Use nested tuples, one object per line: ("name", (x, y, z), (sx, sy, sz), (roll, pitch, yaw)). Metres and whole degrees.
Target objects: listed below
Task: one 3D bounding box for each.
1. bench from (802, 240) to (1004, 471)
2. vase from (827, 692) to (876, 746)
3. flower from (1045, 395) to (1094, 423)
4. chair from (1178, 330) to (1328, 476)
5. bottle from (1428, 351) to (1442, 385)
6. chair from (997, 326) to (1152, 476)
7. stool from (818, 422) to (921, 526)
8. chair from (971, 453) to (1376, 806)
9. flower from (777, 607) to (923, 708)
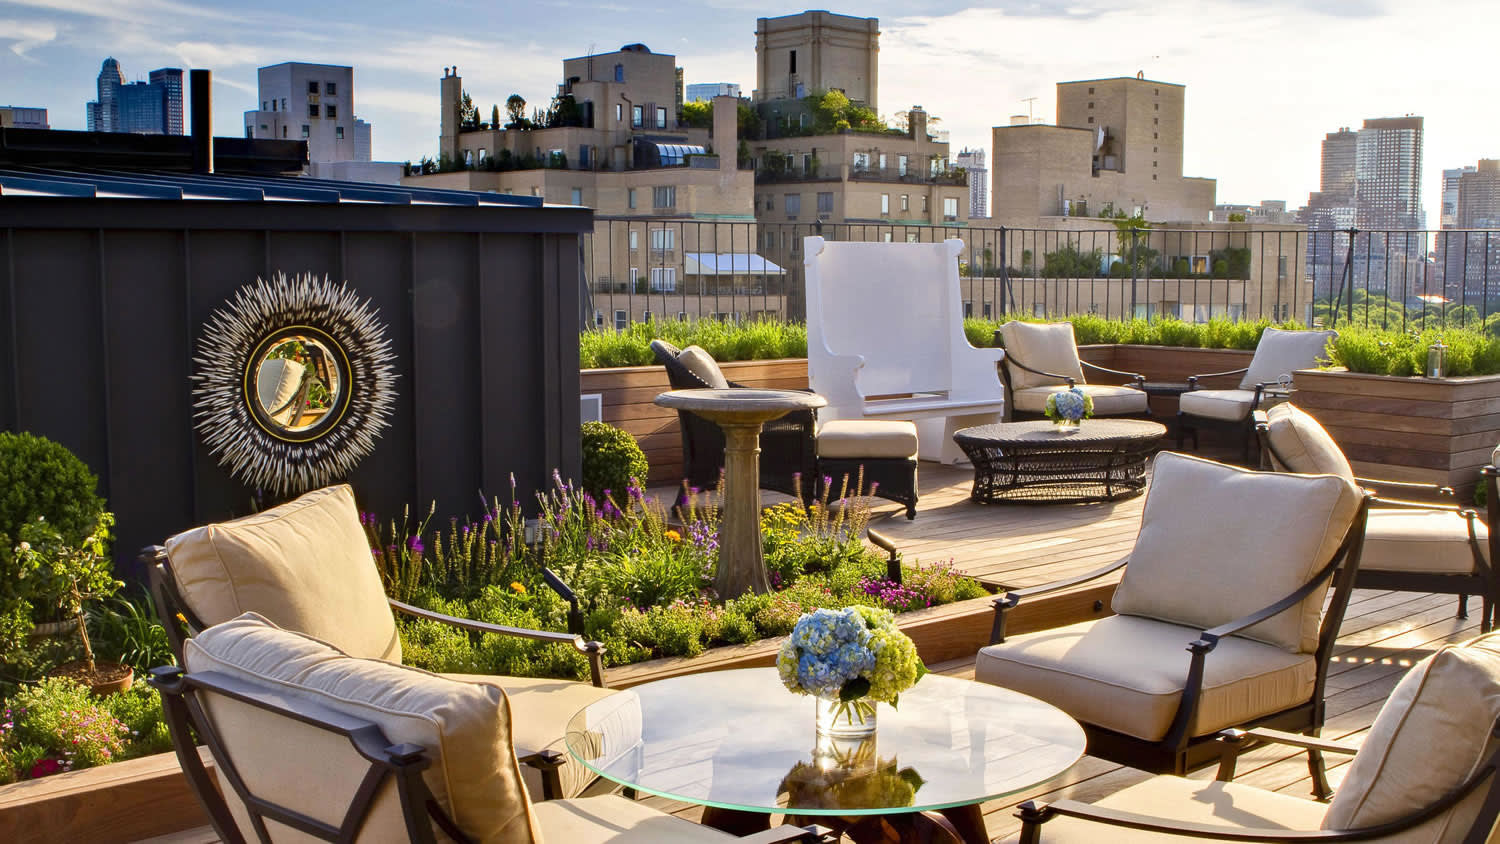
("bench", (1.313, -0.497, 10.731), (1.576, 1.980, 1.020), (-4, 6, -28))
("vase", (0.420, 1.177, 5.070), (0.211, 0.200, 0.207), (2, 9, 9))
("flower", (2.484, -0.071, 9.830), (0.222, 0.168, 0.284), (-1, -4, 36))
("chair", (4.417, -0.165, 11.210), (1.053, 1.143, 0.748), (-5, 10, -29))
("bottle", (5.410, -0.424, 10.019), (0.093, 0.251, 0.097), (0, 8, 0))
("chair", (2.869, -0.206, 11.362), (0.927, 1.253, 1.105), (-3, 6, -26))
("stool", (0.864, 0.400, 9.581), (1.004, 0.653, 0.969), (-2, 2, -18))
("chair", (2.094, 1.039, 6.167), (1.718, 1.474, 1.331), (-8, 8, -25))
("flower", (0.378, 0.990, 5.195), (0.638, 0.425, 0.587), (-6, -2, 20))
